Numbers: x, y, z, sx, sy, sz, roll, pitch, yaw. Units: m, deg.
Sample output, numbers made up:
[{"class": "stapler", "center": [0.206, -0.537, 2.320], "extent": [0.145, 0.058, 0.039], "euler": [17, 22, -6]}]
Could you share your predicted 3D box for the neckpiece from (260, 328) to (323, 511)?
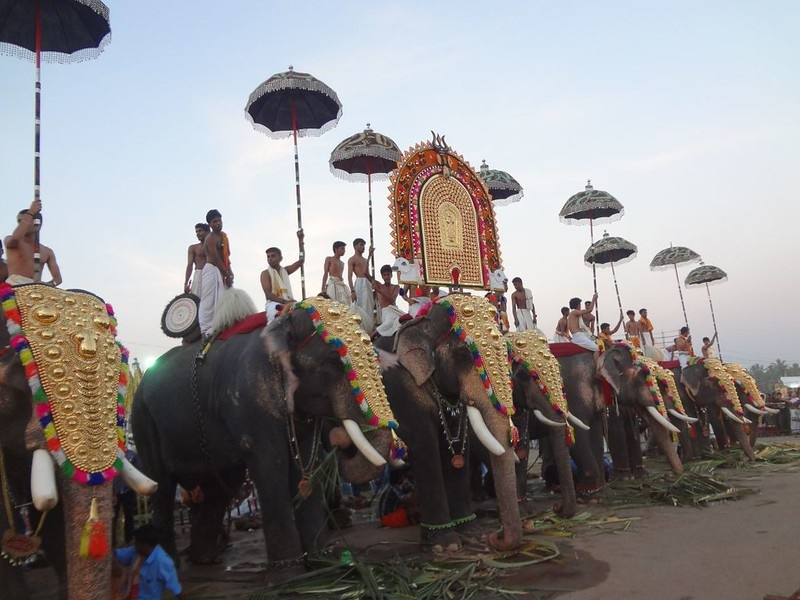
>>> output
[{"class": "neckpiece", "center": [-0.831, 0.845, 4.595], "extent": [0.412, 1.320, 0.272], "euler": [-2, -8, -9]}]

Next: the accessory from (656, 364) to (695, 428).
[{"class": "accessory", "center": [4.142, 1.468, 9.045], "extent": [0.361, 1.143, 0.331], "euler": [-3, -30, -7]}]

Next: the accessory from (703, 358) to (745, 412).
[{"class": "accessory", "center": [5.245, 1.410, 9.816], "extent": [0.469, 0.910, 0.521], "euler": [-8, -9, 28]}]
